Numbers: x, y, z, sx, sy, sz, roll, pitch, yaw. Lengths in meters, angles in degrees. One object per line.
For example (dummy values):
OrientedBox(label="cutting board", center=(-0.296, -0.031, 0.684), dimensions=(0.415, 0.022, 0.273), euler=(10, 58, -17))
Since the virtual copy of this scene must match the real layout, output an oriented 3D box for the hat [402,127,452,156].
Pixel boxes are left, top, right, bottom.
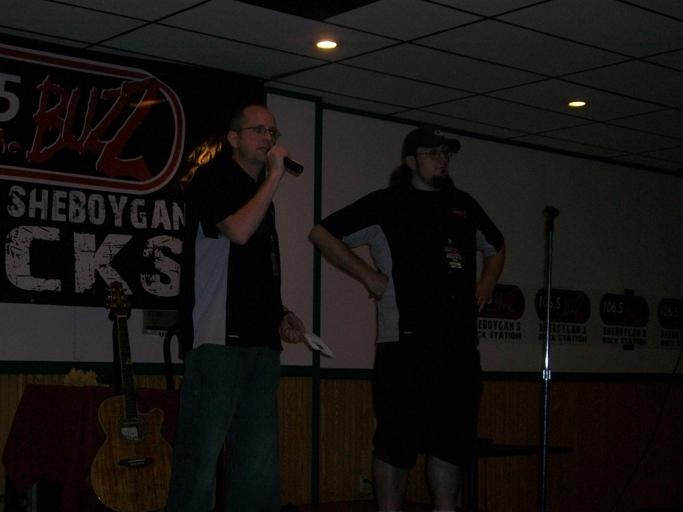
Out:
OrientedBox(label="hat", center=(0.486, -0.670, 4.287), dimensions=(0.214, 0.137, 0.168), euler=(-16, -5, 30))
